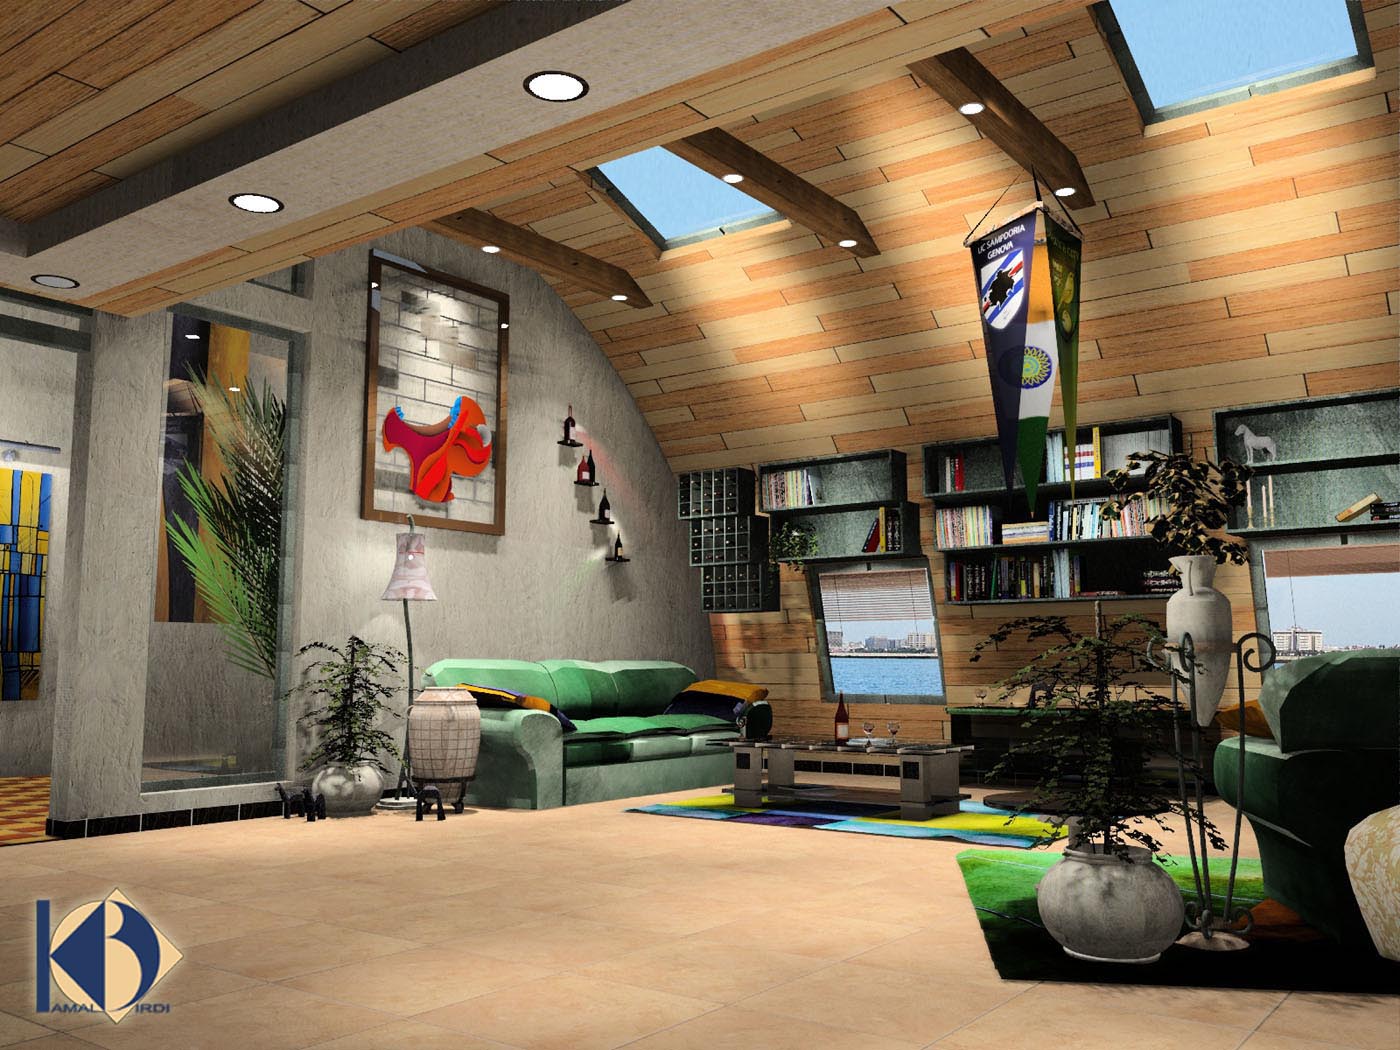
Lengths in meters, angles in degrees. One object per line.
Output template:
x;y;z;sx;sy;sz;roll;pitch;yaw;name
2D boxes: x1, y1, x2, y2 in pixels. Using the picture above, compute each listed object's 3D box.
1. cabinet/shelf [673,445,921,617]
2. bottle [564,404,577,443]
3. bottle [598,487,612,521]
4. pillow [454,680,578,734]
1.105;0.054;9.371;2.389;1.103;0.357;-2;-7;21;cabinet/shelf
-1.308;-1.010;9.192;0.070;0.431;0.186;-5;-13;24;bottle
-0.982;-0.198;9.494;0.071;0.365;0.241;-3;-11;16;bottle
-1.455;1.480;7.321;0.929;0.412;0.570;2;-10;-10;pillow
